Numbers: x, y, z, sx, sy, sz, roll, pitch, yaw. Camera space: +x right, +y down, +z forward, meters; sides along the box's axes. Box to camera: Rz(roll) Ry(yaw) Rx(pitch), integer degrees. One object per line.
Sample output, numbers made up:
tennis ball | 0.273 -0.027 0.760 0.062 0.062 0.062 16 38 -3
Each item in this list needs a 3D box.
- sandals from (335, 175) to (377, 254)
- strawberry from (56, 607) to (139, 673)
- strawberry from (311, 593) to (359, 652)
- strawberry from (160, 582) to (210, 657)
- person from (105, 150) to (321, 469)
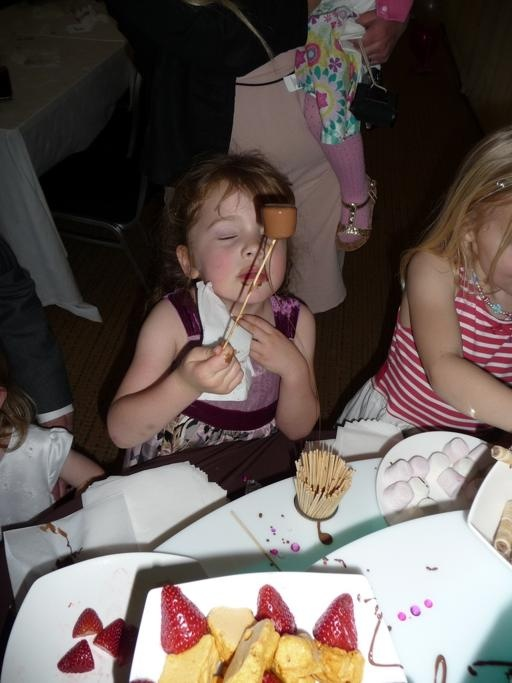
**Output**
sandals | 0.302 -0.403 1.643 0.106 0.227 0.137 14 31 24
strawberry | -0.197 0.368 0.624 0.072 0.020 0.070 -3 58 -10
strawberry | 0.082 0.305 0.557 0.062 0.039 0.049 3 26 -1
strawberry | -0.073 0.281 0.523 0.043 0.029 0.061 -13 68 -11
person | -0.072 0.028 1.164 0.380 0.785 0.413 -9 34 -18
